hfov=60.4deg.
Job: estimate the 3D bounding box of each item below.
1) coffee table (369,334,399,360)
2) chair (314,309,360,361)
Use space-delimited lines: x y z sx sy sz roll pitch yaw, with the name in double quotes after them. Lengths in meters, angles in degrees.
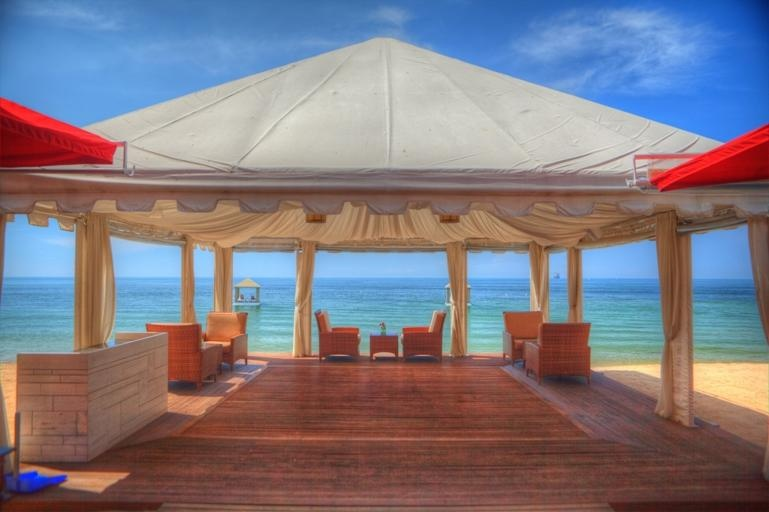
-0.023 1.985 14.325 0.629 0.382 0.579 0 -3 0 "coffee table"
-1.052 1.743 14.421 0.935 1.081 0.877 -1 14 -6 "chair"
